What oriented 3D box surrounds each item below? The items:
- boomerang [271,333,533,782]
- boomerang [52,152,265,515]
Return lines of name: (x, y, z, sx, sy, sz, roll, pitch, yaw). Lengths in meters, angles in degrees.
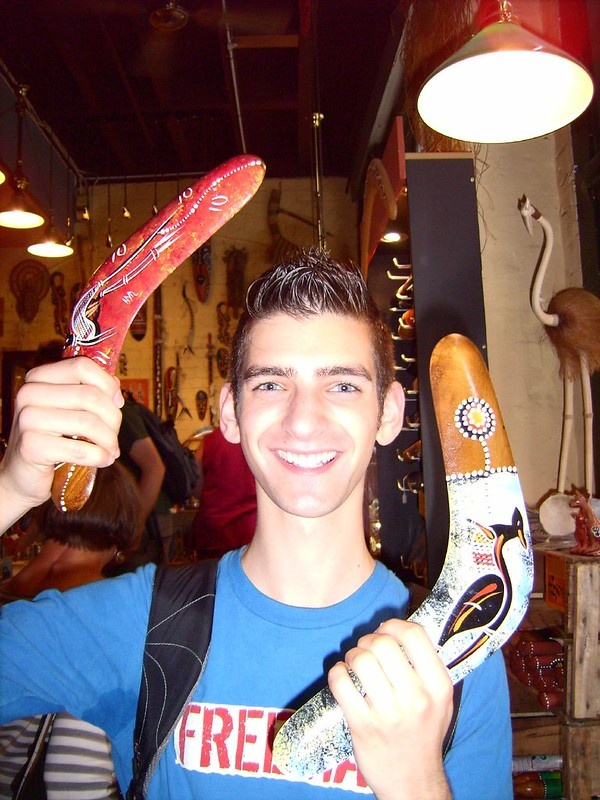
boomerang: (0.159, 0.243, 1.118, 0.439, 0.722, 0.200, 3, -8, -26)
boomerang: (-0.241, -0.256, 1.237, 0.334, 0.433, 0.167, 3, -8, -26)
